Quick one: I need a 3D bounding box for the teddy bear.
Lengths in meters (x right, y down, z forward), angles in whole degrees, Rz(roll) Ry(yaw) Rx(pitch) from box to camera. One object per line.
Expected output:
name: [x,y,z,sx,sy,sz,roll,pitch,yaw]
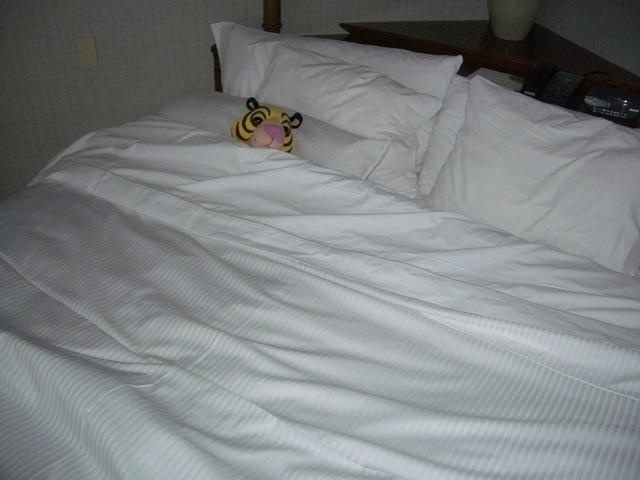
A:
teddy bear: [-0.242,-0.491,2.038,0.308,0.202,0.283,16,19,-11]
